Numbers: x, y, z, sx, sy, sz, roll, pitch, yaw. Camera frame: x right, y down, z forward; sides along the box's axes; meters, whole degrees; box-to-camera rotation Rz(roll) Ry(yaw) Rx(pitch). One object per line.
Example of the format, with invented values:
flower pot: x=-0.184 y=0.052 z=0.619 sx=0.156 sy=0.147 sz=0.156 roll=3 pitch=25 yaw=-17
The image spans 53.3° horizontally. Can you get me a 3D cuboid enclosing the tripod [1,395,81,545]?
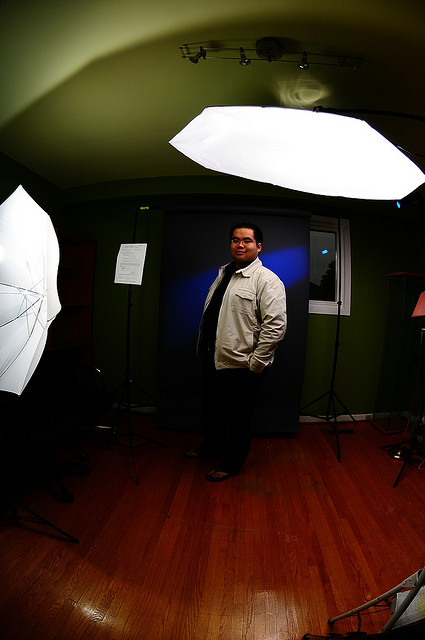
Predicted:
tripod: x=-0.587 y=0.522 z=1.441 sx=0.267 sy=0.399 sz=0.268 roll=15 pitch=21 yaw=32

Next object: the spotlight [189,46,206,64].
spotlight: x=-0.039 y=-0.678 z=1.081 sx=0.043 sy=0.033 sz=0.028 roll=4 pitch=14 yaw=10

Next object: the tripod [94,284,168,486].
tripod: x=-0.296 y=0.203 z=1.611 sx=0.353 sy=0.663 sz=0.242 roll=14 pitch=18 yaw=43

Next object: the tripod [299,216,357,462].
tripod: x=0.522 y=0.071 z=1.755 sx=0.253 sy=0.977 sz=0.367 roll=3 pitch=13 yaw=8

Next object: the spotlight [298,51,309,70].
spotlight: x=0.236 y=-0.675 z=1.097 sx=0.023 sy=0.039 sz=0.062 roll=4 pitch=15 yaw=10

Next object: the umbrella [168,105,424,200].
umbrella: x=0.265 y=-0.501 z=1.293 sx=0.785 sy=0.232 sz=0.229 roll=1 pitch=14 yaw=-1

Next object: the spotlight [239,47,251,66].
spotlight: x=0.083 y=-0.675 z=1.089 sx=0.027 sy=0.035 sz=0.043 roll=3 pitch=14 yaw=5

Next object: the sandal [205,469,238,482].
sandal: x=0.023 y=0.573 z=1.562 sx=0.102 sy=0.032 sz=0.038 roll=11 pitch=-13 yaw=-26
